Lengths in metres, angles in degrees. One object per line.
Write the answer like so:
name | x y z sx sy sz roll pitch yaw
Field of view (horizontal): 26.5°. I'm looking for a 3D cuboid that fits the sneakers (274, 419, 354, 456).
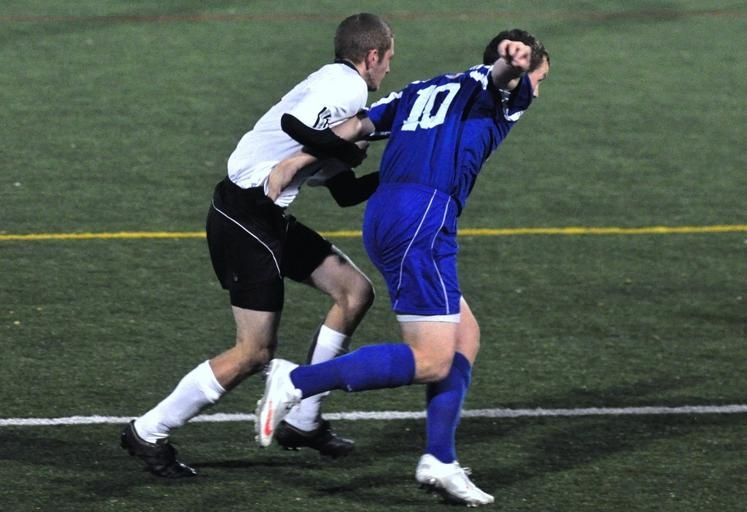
sneakers | -0.415 1.156 10.200 0.684 0.262 0.179 4 35 -8
